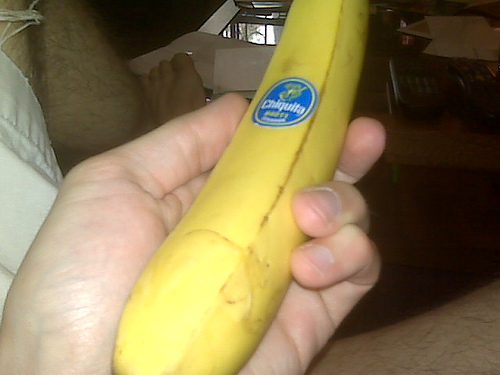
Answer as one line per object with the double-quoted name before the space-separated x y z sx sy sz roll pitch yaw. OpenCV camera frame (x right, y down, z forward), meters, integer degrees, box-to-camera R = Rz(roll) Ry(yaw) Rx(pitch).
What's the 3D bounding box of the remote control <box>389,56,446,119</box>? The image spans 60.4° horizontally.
"remote control" 0.474 -0.298 1.223 0.141 0.045 0.189 -1 62 -1
